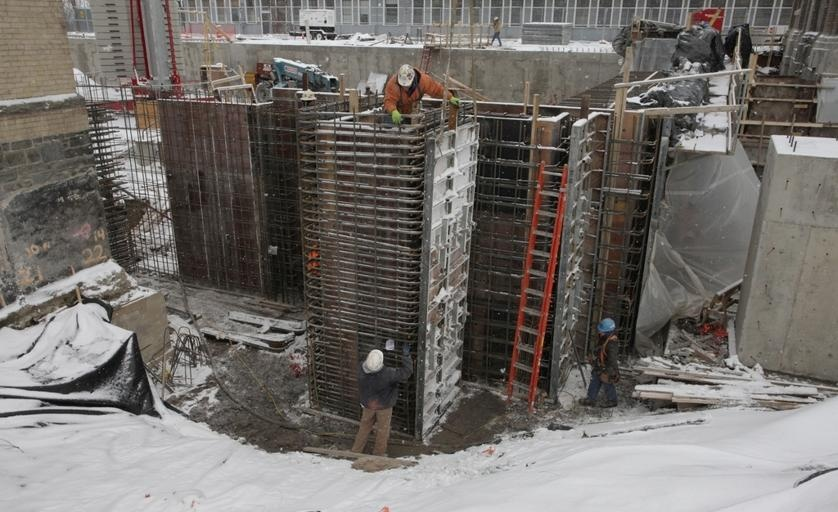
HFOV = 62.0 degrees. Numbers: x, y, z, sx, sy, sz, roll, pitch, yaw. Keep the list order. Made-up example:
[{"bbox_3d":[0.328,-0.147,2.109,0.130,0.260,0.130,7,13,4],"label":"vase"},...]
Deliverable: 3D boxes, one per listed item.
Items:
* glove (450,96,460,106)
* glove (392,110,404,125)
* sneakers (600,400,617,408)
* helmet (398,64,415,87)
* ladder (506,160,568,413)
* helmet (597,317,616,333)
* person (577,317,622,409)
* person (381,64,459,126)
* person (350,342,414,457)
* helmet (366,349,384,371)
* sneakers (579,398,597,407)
[{"bbox_3d":[0.675,-2.856,12.919,0.199,0.078,0.148,21,36,35],"label":"glove"},{"bbox_3d":[-0.400,-2.536,12.765,0.200,0.242,0.398,-2,17,-3],"label":"glove"},{"bbox_3d":[3.941,3.035,14.410,0.328,0.147,0.136,5,13,6],"label":"sneakers"},{"bbox_3d":[-0.220,-3.362,13.141,0.347,0.389,0.229,-2,17,-3],"label":"helmet"},{"bbox_3d":[2.407,0.610,14.087,1.061,4.937,1.608,3,17,13],"label":"ladder"},{"bbox_3d":[3.851,1.449,14.256,0.282,0.346,0.313,3,17,12],"label":"helmet"},{"bbox_3d":[3.805,2.202,14.263,0.652,1.795,0.673,11,21,35],"label":"person"},{"bbox_3d":[-0.072,-3.064,13.187,1.239,1.013,1.228,-6,17,-17],"label":"person"},{"bbox_3d":[-0.674,2.772,13.363,0.982,2.337,0.853,10,23,12],"label":"person"},{"bbox_3d":[-0.822,1.940,12.867,0.295,0.387,0.317,13,-25,8],"label":"helmet"},{"bbox_3d":[3.515,3.005,14.487,0.382,0.204,0.140,6,15,15],"label":"sneakers"}]
